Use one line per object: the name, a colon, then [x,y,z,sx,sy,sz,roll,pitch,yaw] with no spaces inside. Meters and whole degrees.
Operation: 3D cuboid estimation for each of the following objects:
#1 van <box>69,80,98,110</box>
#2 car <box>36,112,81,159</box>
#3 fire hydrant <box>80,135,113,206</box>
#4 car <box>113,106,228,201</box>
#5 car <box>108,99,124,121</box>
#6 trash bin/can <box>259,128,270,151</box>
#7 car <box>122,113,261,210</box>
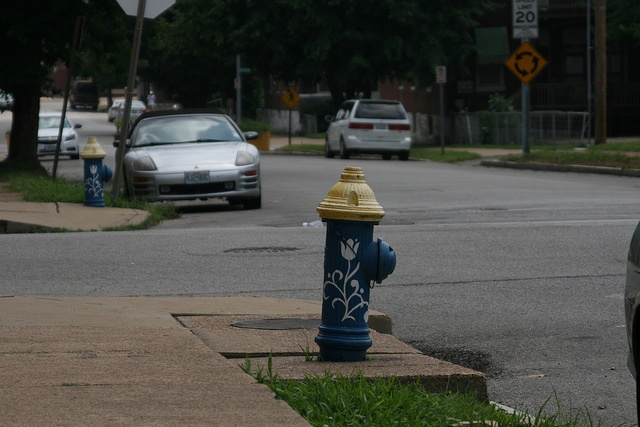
van: [-22.992,-11.701,117.603,1.823,2.106,3.340,0,7,-15]
car: [-8.579,-2.519,39.505,1.256,1.641,2.831,-2,13,-13]
fire hydrant: [-4.088,-0.794,22.129,0.560,1.206,1.065,-1,12,-11]
car: [-2.800,-1.105,22.885,1.571,1.149,2.925,-2,2,-10]
car: [-14.872,-7.448,87.190,1.411,1.310,3.579,0,10,-4]
trash bin/can: [-2.115,-2.699,44.352,0.541,0.699,0.585,0,3,15]
car: [-2.467,-0.868,23.035,2.738,1.839,2.344,11,15,38]
